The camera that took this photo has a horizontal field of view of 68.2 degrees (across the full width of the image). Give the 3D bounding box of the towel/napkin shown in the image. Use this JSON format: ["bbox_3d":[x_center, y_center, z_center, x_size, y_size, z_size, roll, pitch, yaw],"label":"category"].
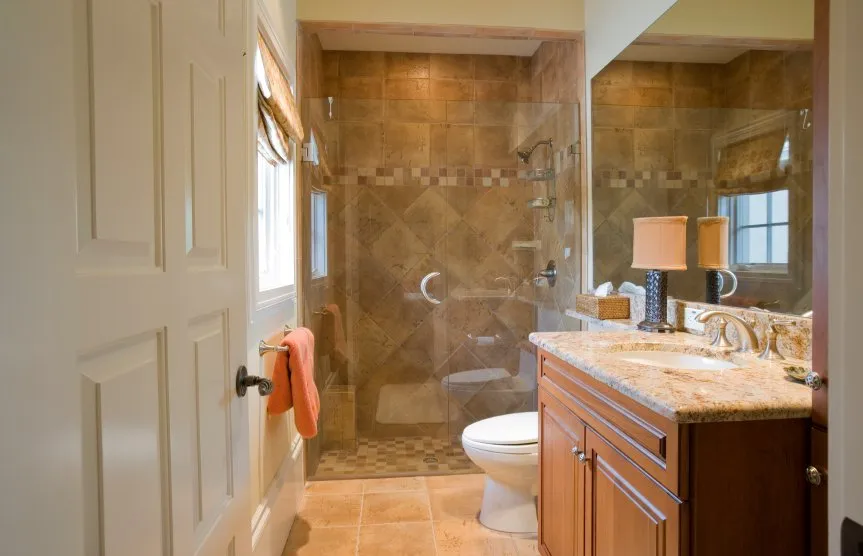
[{"bbox_3d":[-0.572,0.427,2.587,0.200,0.398,0.382,-4,4,-13],"label":"towel/napkin"}]

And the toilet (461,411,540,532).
[{"bbox_3d":[0.345,0.842,3.001,0.472,0.505,0.573,1,-2,7],"label":"toilet"}]

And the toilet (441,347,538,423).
[{"bbox_3d":[0.330,0.625,3.850,0.541,0.470,0.347,0,0,-2],"label":"toilet"}]

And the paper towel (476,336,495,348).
[{"bbox_3d":[0.298,0.363,3.617,0.112,0.064,0.024,-3,-1,0],"label":"paper towel"}]
